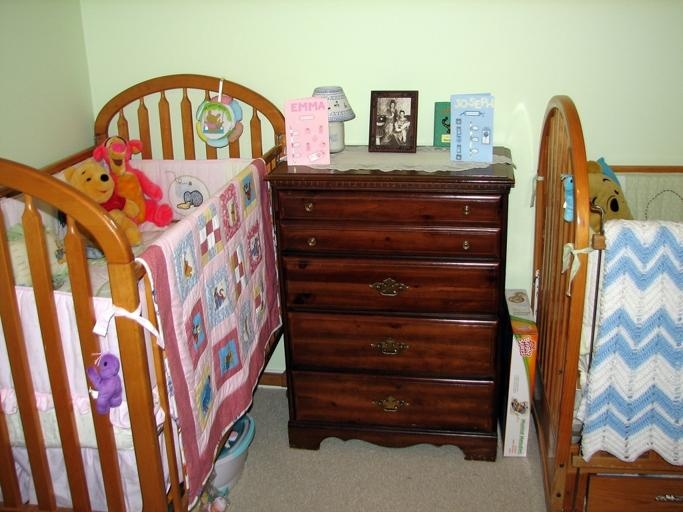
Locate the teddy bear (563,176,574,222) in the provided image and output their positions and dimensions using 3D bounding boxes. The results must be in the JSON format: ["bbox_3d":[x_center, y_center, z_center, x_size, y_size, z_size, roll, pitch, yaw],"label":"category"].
[{"bbox_3d":[0.841,-0.206,2.100,0.055,0.171,0.047,-15,16,-40],"label":"teddy bear"}]

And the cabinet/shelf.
[{"bbox_3d":[0.234,0.191,2.592,1.238,1.638,0.867,1,21,7],"label":"cabinet/shelf"}]

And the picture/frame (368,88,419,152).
[{"bbox_3d":[0.249,-0.642,2.704,0.282,0.372,0.026,2,13,8],"label":"picture/frame"}]

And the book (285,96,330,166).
[{"bbox_3d":[-0.151,-0.566,2.574,0.230,0.330,0.179,5,25,14],"label":"book"}]

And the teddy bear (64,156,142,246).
[{"bbox_3d":[-1.125,-0.254,2.686,0.398,0.386,0.281,13,22,43],"label":"teddy bear"}]
